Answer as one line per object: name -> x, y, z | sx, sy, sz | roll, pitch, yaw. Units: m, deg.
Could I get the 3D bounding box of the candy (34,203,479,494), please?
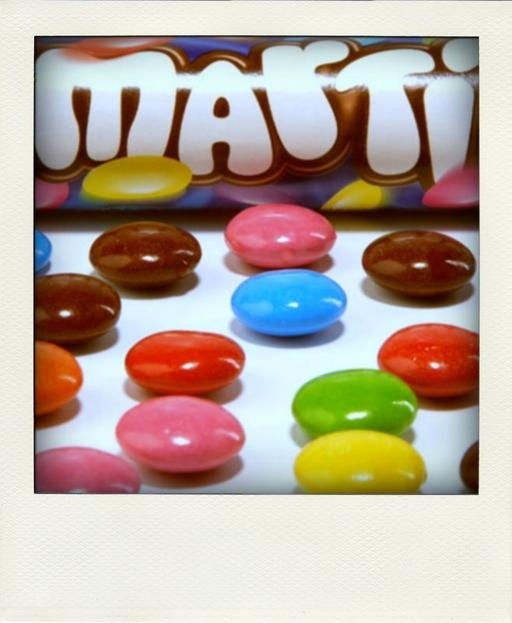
candy -> 0.003, 0.043, 0.899 | 0.578, 0.360, 0.228 | -1, 14, 8

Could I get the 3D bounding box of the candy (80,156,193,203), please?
candy -> -0.167, -0.182, 0.930 | 0.151, 0.065, 0.036 | -18, 40, -22
